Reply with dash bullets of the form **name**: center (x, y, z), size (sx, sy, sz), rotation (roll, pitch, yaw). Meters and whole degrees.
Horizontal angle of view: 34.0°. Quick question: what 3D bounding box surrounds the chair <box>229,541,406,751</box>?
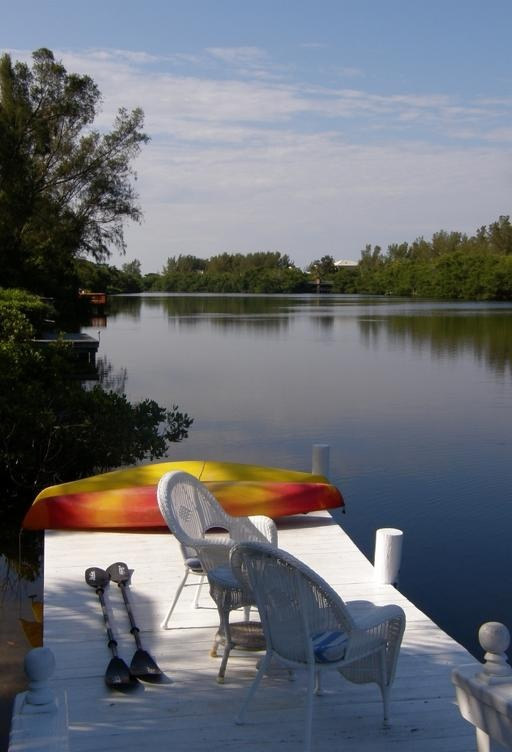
- **chair**: center (0.218, 0.997, 3.739), size (0.827, 0.960, 0.683), rotation (-8, 10, -43)
